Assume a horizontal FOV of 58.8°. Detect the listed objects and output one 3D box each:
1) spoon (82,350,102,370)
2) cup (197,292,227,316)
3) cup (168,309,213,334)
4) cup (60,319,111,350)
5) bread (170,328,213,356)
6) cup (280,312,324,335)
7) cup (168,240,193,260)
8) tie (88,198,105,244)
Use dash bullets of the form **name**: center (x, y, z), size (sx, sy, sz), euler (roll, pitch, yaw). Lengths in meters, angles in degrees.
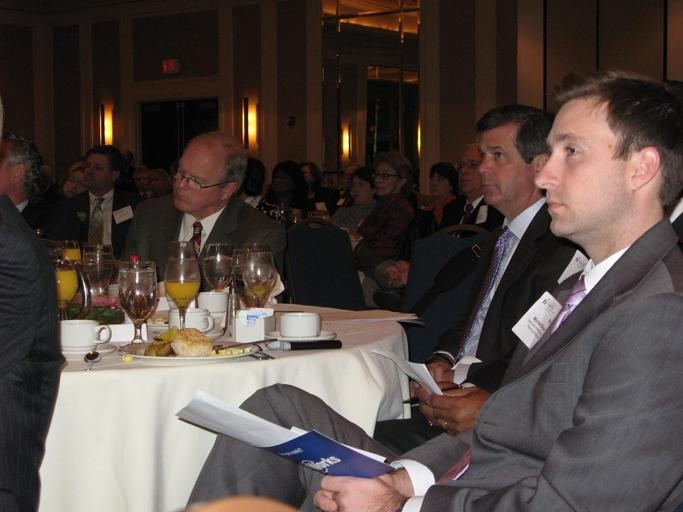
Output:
- **spoon**: center (-0.674, 0.285, 1.638), size (0.033, 0.048, 0.013), euler (19, -13, -42)
- **cup**: center (-0.453, 0.171, 2.136), size (0.081, 0.057, 0.079), euler (2, -1, 0)
- **cup**: center (-0.467, 0.202, 1.896), size (0.112, 0.072, 0.073), euler (5, 3, 43)
- **cup**: center (-0.732, 0.231, 1.745), size (0.142, 0.068, 0.085), euler (3, 2, -17)
- **bread**: center (-0.414, 0.240, 1.674), size (0.082, 0.029, 0.084), euler (7, 32, -33)
- **cup**: center (-0.145, 0.218, 1.944), size (0.085, 0.049, 0.088), euler (1, -3, 0)
- **cup**: center (-0.535, -0.013, 2.011), size (0.070, 0.050, 0.069), euler (0, -2, 0)
- **tie**: center (-2.258, -0.283, 5.584), size (0.120, 0.473, 0.035), euler (6, 4, -19)
